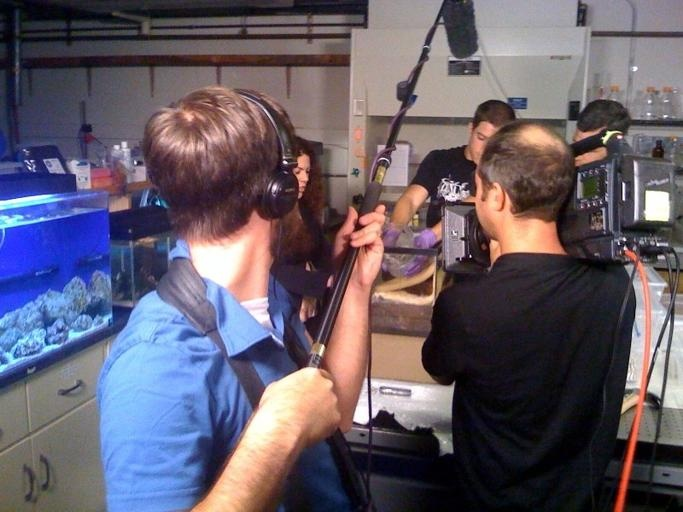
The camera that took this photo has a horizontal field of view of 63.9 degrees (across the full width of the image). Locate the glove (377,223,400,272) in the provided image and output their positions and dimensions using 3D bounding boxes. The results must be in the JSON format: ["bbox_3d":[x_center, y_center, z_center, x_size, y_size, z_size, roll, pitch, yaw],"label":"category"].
[{"bbox_3d":[0.228,-0.070,2.622,0.068,0.276,0.079,8,-10,-10],"label":"glove"}]
